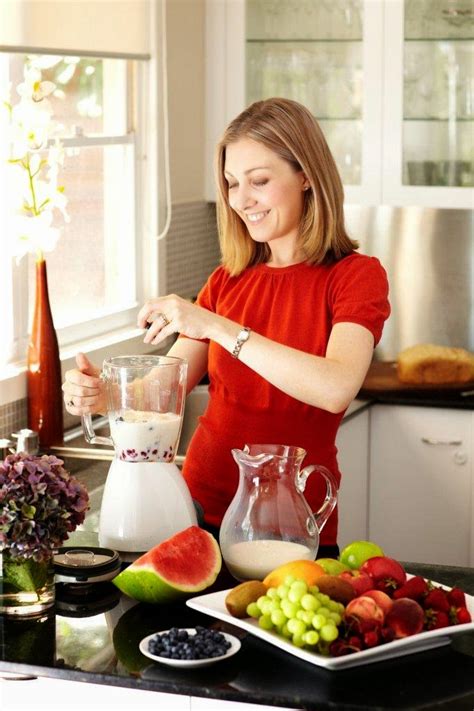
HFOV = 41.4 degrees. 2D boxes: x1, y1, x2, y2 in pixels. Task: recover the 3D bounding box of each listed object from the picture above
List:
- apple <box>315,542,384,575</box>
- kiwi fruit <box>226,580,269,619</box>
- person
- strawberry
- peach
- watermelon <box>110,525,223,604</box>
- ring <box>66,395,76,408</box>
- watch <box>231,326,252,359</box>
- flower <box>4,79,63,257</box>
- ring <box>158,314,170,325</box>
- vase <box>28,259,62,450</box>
[{"bbox_3d":[0.142,0.252,0.780,0.065,0.027,0.038,-20,3,-25],"label":"apple"},{"bbox_3d":[0.013,0.254,0.666,0.029,0.027,0.048,2,5,33],"label":"kiwi fruit"},{"bbox_3d":[0.030,0.189,1.432,0.609,1.430,0.519,8,15,40],"label":"person"},{"bbox_3d":[0.210,0.252,0.677,0.075,0.042,0.074,4,8,21],"label":"strawberry"},{"bbox_3d":[0.143,0.242,0.640,0.051,0.050,0.062,-14,19,-43],"label":"peach"},{"bbox_3d":[-0.098,0.219,0.789,0.080,0.065,0.156,-35,-20,27],"label":"watermelon"},{"bbox_3d":[-0.308,0.087,1.166,0.014,0.019,0.006,7,18,28],"label":"ring"},{"bbox_3d":[0.006,-0.023,1.137,0.025,0.054,0.030,25,-1,18],"label":"watch"},{"bbox_3d":[-0.567,-0.509,1.726,0.111,0.549,0.162,9,14,35],"label":"flower"},{"bbox_3d":[-0.134,-0.066,1.147,0.006,0.018,0.018,-42,19,-16],"label":"ring"},{"bbox_3d":[-0.509,0.004,1.751,0.127,0.454,0.139,-4,6,-39],"label":"vase"}]
